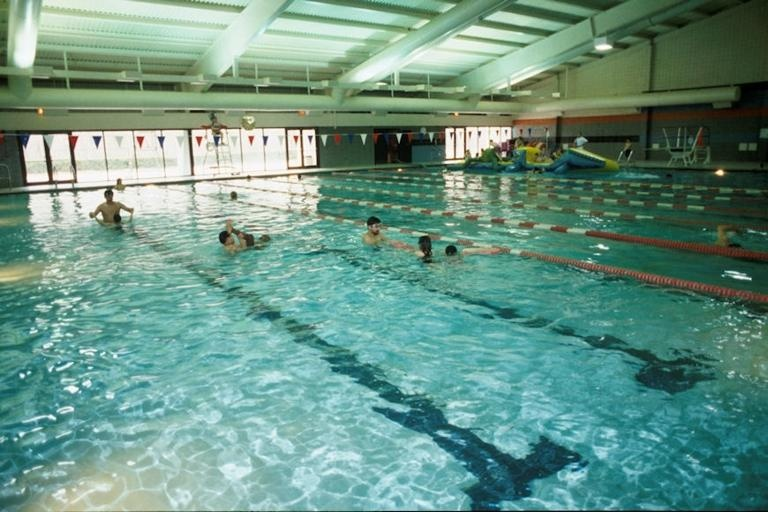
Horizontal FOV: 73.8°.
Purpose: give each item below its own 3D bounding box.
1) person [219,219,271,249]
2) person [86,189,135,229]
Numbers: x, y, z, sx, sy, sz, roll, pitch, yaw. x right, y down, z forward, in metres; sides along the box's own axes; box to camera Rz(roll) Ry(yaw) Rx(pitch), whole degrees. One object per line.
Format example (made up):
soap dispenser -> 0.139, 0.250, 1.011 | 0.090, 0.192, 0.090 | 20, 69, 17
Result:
person -> -2.213, -0.361, 8.393 | 0.931, 0.405, 0.444 | -15, 34, -27
person -> -5.662, -1.019, 10.481 | 0.683, 0.720, 1.555 | -10, 14, -28
